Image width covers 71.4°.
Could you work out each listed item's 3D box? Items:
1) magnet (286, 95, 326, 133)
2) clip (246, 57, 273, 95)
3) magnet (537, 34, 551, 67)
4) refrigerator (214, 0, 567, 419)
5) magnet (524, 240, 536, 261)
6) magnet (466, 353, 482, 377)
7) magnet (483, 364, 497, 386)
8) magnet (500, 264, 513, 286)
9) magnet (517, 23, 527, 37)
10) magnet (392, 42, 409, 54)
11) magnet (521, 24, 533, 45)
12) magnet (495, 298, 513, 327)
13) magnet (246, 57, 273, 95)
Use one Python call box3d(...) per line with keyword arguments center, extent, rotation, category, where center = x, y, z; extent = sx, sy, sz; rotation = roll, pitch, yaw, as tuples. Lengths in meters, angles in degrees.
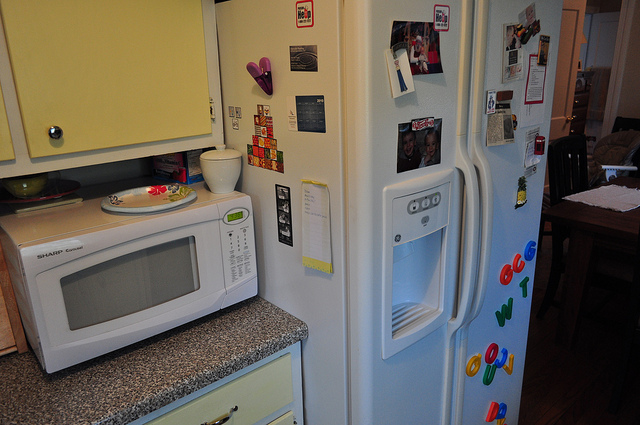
box3d(center=(-0.047, -0.351, 1.568), extent=(0.178, 0.131, 0.023), rotation=(17, 31, 37), category="magnet")
box3d(center=(-0.214, -0.498, 1.647), extent=(0.098, 0.040, 0.176), rotation=(-16, 53, -1), category="clip")
box3d(center=(0.948, -0.693, 1.889), extent=(0.016, 0.160, 0.090), rotation=(16, 30, 37), category="magnet")
box3d(center=(0.382, 0.182, 1.913), extent=(1.332, 2.042, 0.740), rotation=(-11, 25, -15), category="refrigerator")
box3d(center=(1.000, 0.179, 2.119), extent=(0.078, 0.104, 0.023), rotation=(-14, 25, -30), category="magnet")
box3d(center=(0.689, 0.680, 2.008), extent=(0.022, 0.092, 0.089), rotation=(21, 50, 40), category="magnet")
box3d(center=(0.800, 0.770, 2.111), extent=(0.070, 0.101, 0.025), rotation=(-5, 13, -28), category="magnet")
box3d(center=(0.845, 0.280, 2.023), extent=(0.025, 0.119, 0.097), rotation=(6, 6, 35), category="magnet")
box3d(center=(0.802, -0.730, 1.774), extent=(0.013, 0.047, 0.044), rotation=(18, -5, -24), category="magnet")
box3d(center=(0.268, -0.543, 1.472), extent=(0.036, 0.019, 0.048), rotation=(14, 23, 42), category="magnet")
box3d(center=(0.835, -0.718, 1.801), extent=(0.040, 0.075, 0.019), rotation=(7, 1, -33), category="magnet")
box3d(center=(0.869, 0.473, 2.088), extent=(0.030, 0.121, 0.116), rotation=(11, 19, 39), category="magnet")
box3d(center=(-0.210, -0.497, 1.617), extent=(0.074, 0.126, 0.029), rotation=(-26, 17, 20), category="magnet")
